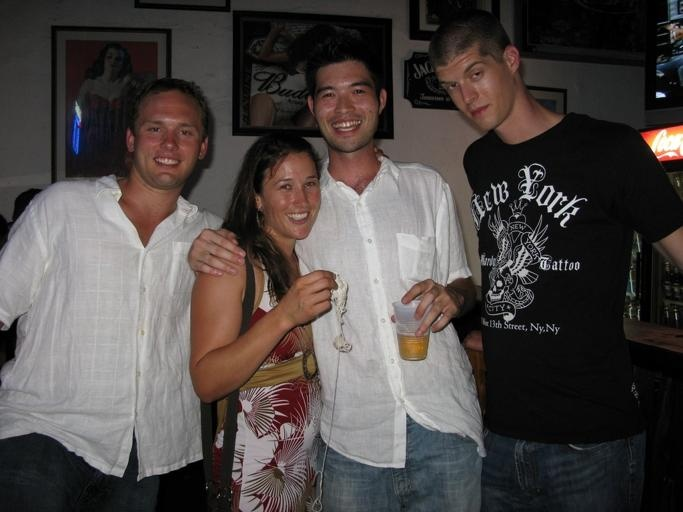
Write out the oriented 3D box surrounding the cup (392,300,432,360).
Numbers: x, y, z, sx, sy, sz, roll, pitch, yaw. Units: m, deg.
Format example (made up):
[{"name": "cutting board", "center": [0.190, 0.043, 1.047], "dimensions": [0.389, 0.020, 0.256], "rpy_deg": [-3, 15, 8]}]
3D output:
[{"name": "cup", "center": [0.288, 0.311, 2.352], "dimensions": [0.123, 0.257, 0.113], "rpy_deg": [-1, 5, 0]}]
